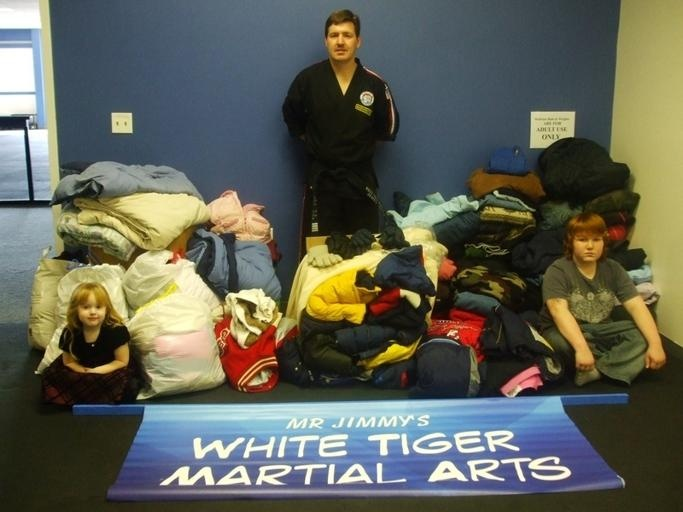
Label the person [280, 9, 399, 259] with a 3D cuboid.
[{"bbox_3d":[-0.012,-0.864,3.660,0.765,1.426,0.277,-1,12,7],"label":"person"}]

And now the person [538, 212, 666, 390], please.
[{"bbox_3d":[1.441,0.226,3.057,0.562,0.905,0.414,-3,12,-3],"label":"person"}]
